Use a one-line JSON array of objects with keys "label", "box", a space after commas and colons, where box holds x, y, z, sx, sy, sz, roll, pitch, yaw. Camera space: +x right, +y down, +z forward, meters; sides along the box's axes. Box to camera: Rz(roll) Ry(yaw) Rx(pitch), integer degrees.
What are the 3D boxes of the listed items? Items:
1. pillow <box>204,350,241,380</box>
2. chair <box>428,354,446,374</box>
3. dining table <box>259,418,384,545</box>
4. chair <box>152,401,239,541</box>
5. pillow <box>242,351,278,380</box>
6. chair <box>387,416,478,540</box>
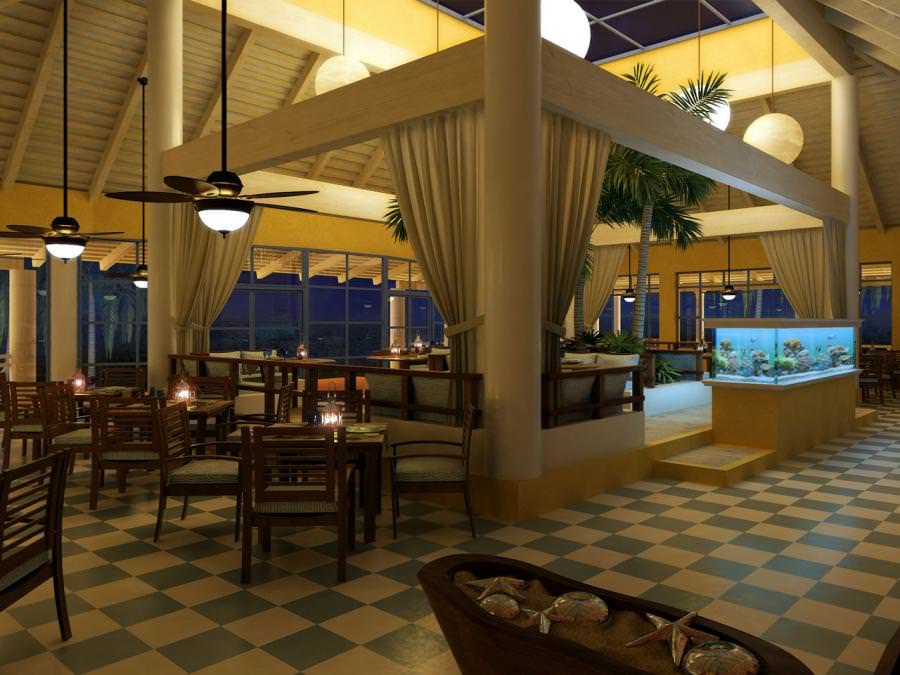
[{"label": "pillow", "box": [-3.520, 0.410, 8.913, 0.531, 0.564, 0.699, 0, 3, -14]}, {"label": "chair", "box": [-0.390, 0.427, 10.517, 0.297, 0.254, 0.289, 1, -3, -43]}, {"label": "dining table", "box": [-0.999, 1.117, 5.070, 0.809, 0.682, 0.756, -1, -5, 5]}, {"label": "chair", "box": [-2.352, 1.071, 5.330, 0.639, 0.986, 1.681, -1, 4, -26]}, {"label": "pillow", "box": [-3.301, 0.461, 9.866, 0.280, 0.229, 0.512, 3, 2, 32]}, {"label": "chair", "box": [-0.250, 1.187, 5.575, 0.999, 1.179, 0.937, 2, -5, -4]}]
